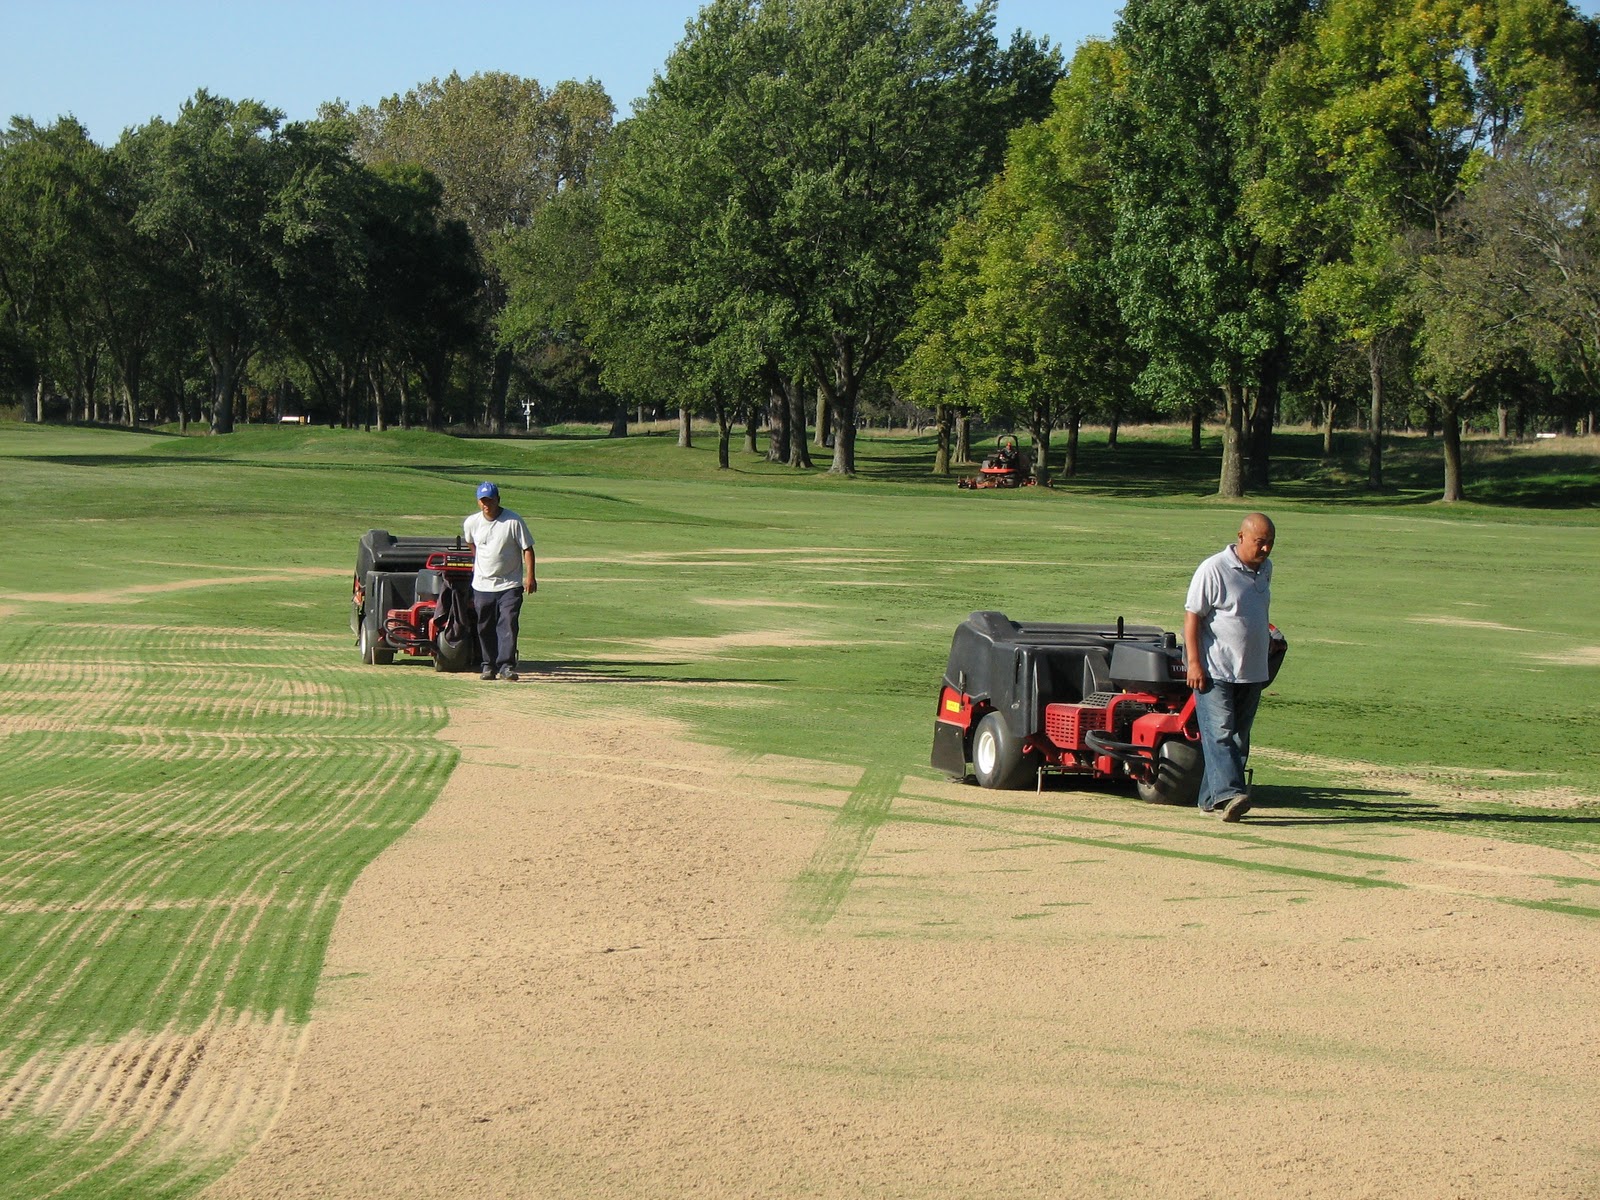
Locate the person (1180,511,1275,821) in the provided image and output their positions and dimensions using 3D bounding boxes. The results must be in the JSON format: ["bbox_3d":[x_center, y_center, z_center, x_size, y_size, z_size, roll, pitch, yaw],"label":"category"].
[{"bbox_3d":[3.333,0.492,14.232,0.651,2.341,0.825,3,7,14],"label":"person"}]

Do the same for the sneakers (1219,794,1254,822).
[{"bbox_3d":[3.348,1.557,14.027,0.124,0.128,0.306,19,-41,-10],"label":"sneakers"}]

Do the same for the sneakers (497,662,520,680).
[{"bbox_3d":[-3.329,0.782,20.864,0.192,0.210,0.513,-1,-2,-13],"label":"sneakers"}]

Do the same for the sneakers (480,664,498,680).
[{"bbox_3d":[-3.562,0.826,21.044,0.137,0.183,0.193,-1,-7,-1],"label":"sneakers"}]
